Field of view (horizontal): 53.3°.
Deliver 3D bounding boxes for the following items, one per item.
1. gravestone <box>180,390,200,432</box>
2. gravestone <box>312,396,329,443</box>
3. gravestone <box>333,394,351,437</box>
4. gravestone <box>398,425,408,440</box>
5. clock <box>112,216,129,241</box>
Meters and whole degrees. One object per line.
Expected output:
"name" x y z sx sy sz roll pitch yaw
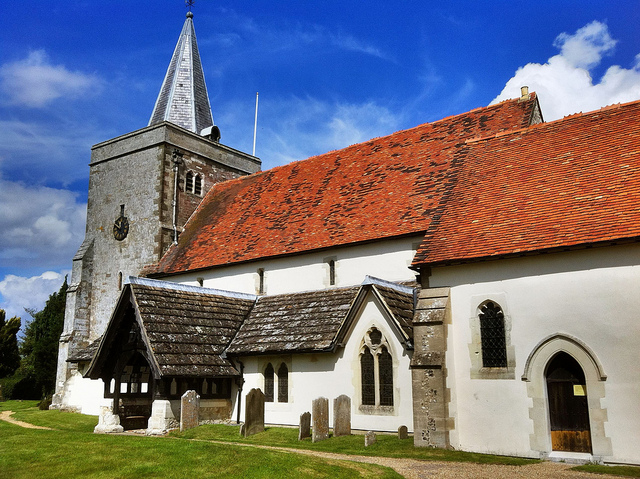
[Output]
"gravestone" -5.329 6.939 25.956 0.341 1.539 0.963 0 -7 32
"gravestone" -0.017 6.755 24.021 0.612 1.508 1.406 1 -6 21
"gravestone" 0.891 6.765 24.552 0.427 1.530 1.140 0 -7 33
"gravestone" 3.038 7.157 23.555 0.432 0.462 0.084 8 -20 -26
"clock" -13.485 -0.731 43.124 1.765 1.654 0.250 -3 -8 45
